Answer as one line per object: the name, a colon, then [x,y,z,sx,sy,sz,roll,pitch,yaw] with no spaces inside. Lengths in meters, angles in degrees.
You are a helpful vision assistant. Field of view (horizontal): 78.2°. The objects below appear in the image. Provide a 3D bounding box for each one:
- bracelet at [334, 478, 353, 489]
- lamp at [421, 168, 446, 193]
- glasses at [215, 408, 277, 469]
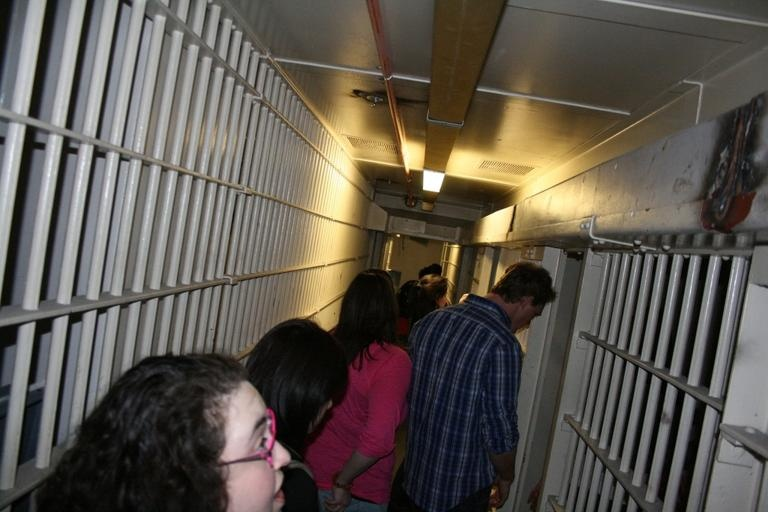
bracelet: [-0.210,1.160,2.437,0.068,0.024,0.050,7,-4,31]
lamp: [0.593,-0.919,5.783,0.273,0.068,0.300,1,-13,-2]
glasses: [-0.428,0.558,1.468,0.158,0.047,0.148,-2,9,-9]
